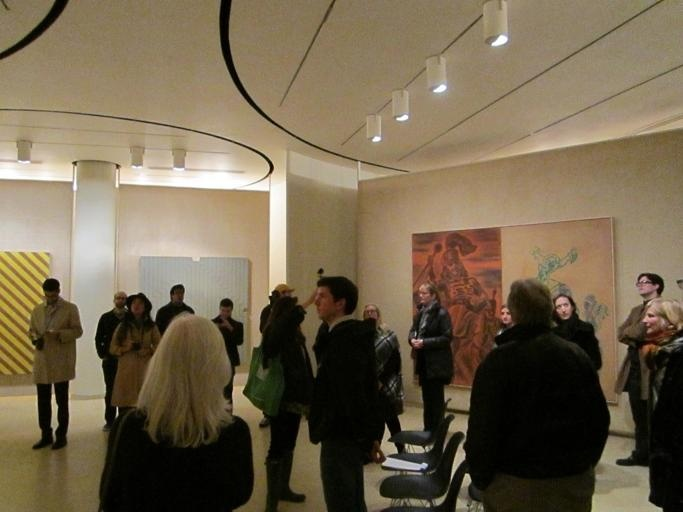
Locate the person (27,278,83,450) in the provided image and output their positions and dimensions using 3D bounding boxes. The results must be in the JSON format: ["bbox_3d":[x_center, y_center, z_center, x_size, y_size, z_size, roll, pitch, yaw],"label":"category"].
[{"bbox_3d":[-3.887,1.422,7.395,0.614,1.682,0.498,2,-2,-1],"label":"person"}]

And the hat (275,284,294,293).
[{"bbox_3d":[-0.758,0.419,7.196,0.190,0.096,0.139,-4,-2,5],"label":"hat"}]

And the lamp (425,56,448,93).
[{"bbox_3d":[1.094,-2.077,6.291,0.228,0.458,0.510,2,-2,10],"label":"lamp"}]

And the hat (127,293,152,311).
[{"bbox_3d":[-2.721,0.609,7.569,0.261,0.321,0.119,1,20,7],"label":"hat"}]

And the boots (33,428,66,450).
[{"bbox_3d":[-3.822,2.419,7.260,0.382,0.180,0.363,1,-2,31],"label":"boots"}]

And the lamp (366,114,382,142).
[{"bbox_3d":[0.452,-1.821,7.651,0.186,0.385,0.130,2,-2,-16],"label":"lamp"}]

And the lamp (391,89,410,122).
[{"bbox_3d":[0.750,-1.943,6.954,0.201,0.435,0.269,2,-2,0],"label":"lamp"}]
